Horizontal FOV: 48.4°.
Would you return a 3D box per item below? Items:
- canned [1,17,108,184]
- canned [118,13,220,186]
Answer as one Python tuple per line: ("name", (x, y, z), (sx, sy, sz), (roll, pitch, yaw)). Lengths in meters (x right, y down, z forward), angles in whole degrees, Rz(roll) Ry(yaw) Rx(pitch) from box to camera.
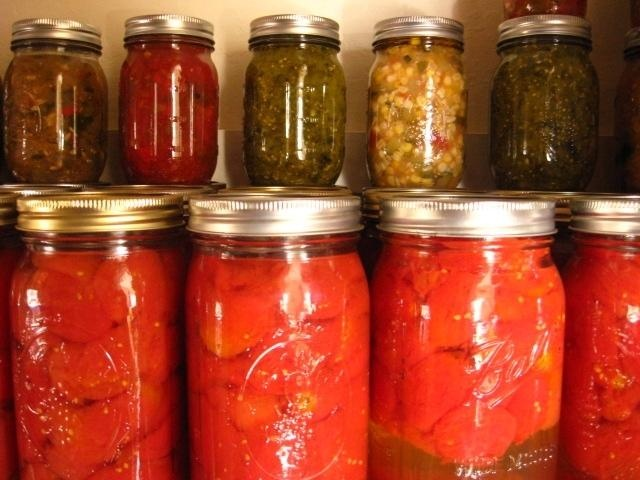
("canned", (-0.472, -0.239, 1.243), (0.170, 0.279, 0.115), (-2, 7, -5))
("canned", (-0.271, -0.248, 1.269), (0.167, 0.287, 0.075), (-3, 7, -16))
